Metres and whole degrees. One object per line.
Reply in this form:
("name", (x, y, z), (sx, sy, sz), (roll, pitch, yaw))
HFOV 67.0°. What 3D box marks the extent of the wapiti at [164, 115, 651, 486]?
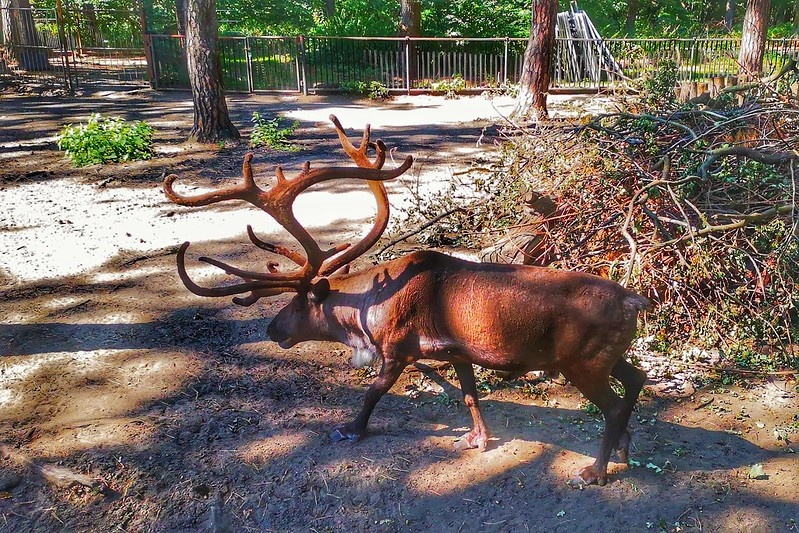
("wapiti", (0.698, -0.331, 7.213), (5.412, 2.944, 2.319), (1, 19, 7))
